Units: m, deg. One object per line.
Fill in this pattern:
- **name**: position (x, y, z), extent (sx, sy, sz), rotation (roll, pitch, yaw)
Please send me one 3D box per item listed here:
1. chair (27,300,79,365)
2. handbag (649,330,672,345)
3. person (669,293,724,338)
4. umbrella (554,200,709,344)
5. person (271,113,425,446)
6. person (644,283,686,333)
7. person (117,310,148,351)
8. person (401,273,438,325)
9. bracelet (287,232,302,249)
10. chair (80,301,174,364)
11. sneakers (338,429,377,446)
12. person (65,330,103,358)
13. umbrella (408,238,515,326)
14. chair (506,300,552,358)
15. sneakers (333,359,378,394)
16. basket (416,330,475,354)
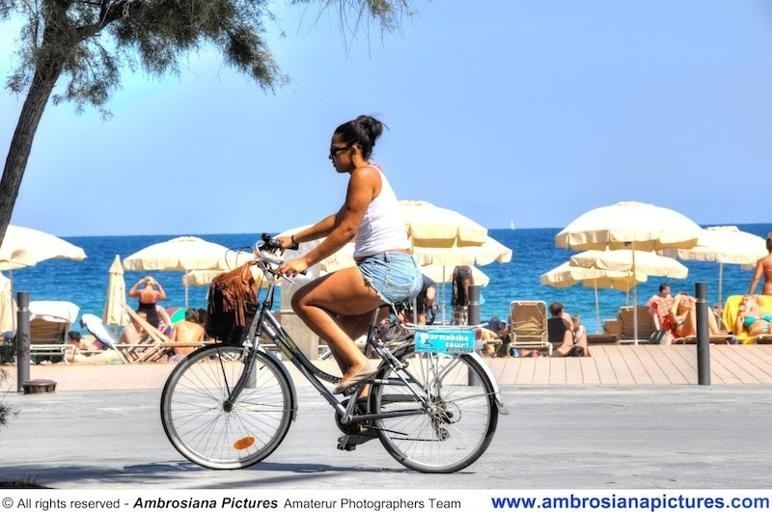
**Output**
- **chair**: position (-5.670, 1.355, 22.612), extent (1.050, 0.917, 1.012), rotation (2, -20, -14)
- **handbag**: position (4.738, 1.441, 22.964), extent (0.247, 0.309, 0.305), rotation (20, 13, 24)
- **person**: position (4.979, 1.005, 21.528), extent (0.501, 0.830, 1.054), rotation (2, 30, -9)
- **umbrella**: position (4.321, 0.273, 23.601), extent (2.311, 2.550, 3.106), rotation (1, -3, 12)
- **person**: position (-0.304, 0.241, 12.395), extent (1.256, 3.159, 0.390), rotation (2, -4, 1)
- **person**: position (5.070, 0.980, 23.748), extent (0.373, 0.772, 0.791), rotation (-13, 32, -25)
- **person**: position (-4.325, 1.303, 22.914), extent (0.512, 0.774, 0.809), rotation (2, -1, 9)
- **person**: position (0.586, 0.489, 20.015), extent (0.299, 0.875, 0.518), rotation (-14, 30, -43)
- **bracelet**: position (-0.856, -0.126, 12.474), extent (0.050, 0.116, 0.132), rotation (4, -1, -23)
- **chair**: position (-4.472, 1.325, 22.531), extent (1.704, 0.904, 0.906), rotation (-3, 3, 5)
- **sneakers**: position (-0.278, 1.739, 12.440), extent (0.189, 0.069, 0.241), rotation (8, -17, -40)
- **person**: position (-5.418, 1.615, 23.908), extent (0.850, 0.427, 0.380), rotation (14, -12, -27)
- **umbrella**: position (1.571, 0.113, 28.518), extent (1.931, 1.188, 1.708), rotation (0, -5, -6)
- **chair**: position (2.412, 1.384, 22.306), extent (0.839, 1.270, 0.844), rotation (-1, 3, 1)
- **sneakers**: position (-0.262, 1.124, 12.430), extent (0.505, 0.205, 0.191), rotation (-33, -5, 7)
- **basket**: position (0.536, 0.800, 12.347), extent (0.380, 0.106, 0.277), rotation (0, -19, 3)
